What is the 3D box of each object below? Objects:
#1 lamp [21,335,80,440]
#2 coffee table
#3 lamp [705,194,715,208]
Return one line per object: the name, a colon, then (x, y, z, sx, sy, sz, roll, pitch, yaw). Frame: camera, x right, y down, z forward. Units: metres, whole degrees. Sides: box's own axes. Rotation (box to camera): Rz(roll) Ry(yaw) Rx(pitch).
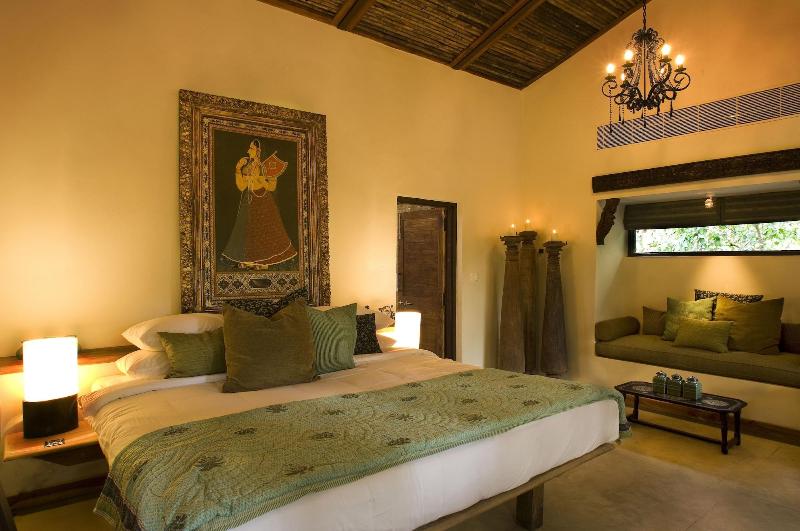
lamp: (-2.815, 0.945, 4.313, 0.391, 0.721, 0.416, -5, 13, -24)
coffee table: (3.055, 1.528, 5.755, 1.104, 0.504, 0.796, 9, 14, 39)
lamp: (3.886, -0.807, 6.723, 0.110, 0.159, 0.066, 9, 14, 35)
